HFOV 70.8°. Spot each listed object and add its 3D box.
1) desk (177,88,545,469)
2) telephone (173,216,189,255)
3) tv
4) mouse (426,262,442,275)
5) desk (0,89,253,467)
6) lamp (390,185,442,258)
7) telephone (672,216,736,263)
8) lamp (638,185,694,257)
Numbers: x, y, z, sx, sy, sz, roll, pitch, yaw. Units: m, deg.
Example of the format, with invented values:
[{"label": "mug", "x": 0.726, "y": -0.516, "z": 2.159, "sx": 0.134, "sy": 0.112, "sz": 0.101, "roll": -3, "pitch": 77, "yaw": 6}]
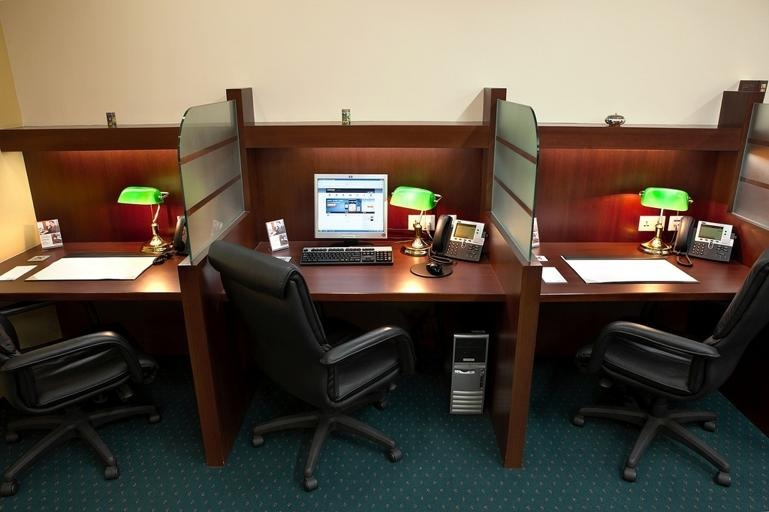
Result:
[{"label": "desk", "x": -0.160, "y": 0.128, "z": 3.586, "sx": 2.112, "sy": 2.602, "sz": 1.319, "roll": -1, "pitch": 19, "yaw": 1}, {"label": "telephone", "x": -1.413, "y": -0.124, "z": 3.759, "sx": 0.106, "sy": 0.281, "sz": 0.155, "roll": 4, "pitch": -2, "yaw": -22}, {"label": "tv", "x": -0.245, "y": -0.352, "z": 3.958, "sx": 0.508, "sy": 0.446, "sz": 0.039, "roll": 0, "pitch": 10, "yaw": -1}, {"label": "mouse", "x": 0.334, "y": 0.091, "z": 3.620, "sx": 0.106, "sy": 0.041, "sz": 0.148, "roll": 1, "pitch": 25, "yaw": 6}, {"label": "desk", "x": -1.746, "y": 0.113, "z": 3.636, "sx": 1.198, "sy": 2.377, "sz": 1.801, "roll": 4, "pitch": 18, "yaw": 0}, {"label": "lamp", "x": 0.239, "y": -0.250, "z": 3.936, "sx": 0.327, "sy": 0.482, "sz": 0.299, "roll": 15, "pitch": 30, "yaw": 30}, {"label": "telephone", "x": 2.223, "y": -0.100, "z": 3.791, "sx": 0.356, "sy": 0.227, "sz": 0.356, "roll": 13, "pitch": 35, "yaw": 33}, {"label": "lamp", "x": 2.036, "y": -0.254, "z": 3.900, "sx": 0.376, "sy": 0.524, "sz": 0.359, "roll": 2, "pitch": 23, "yaw": 5}]
